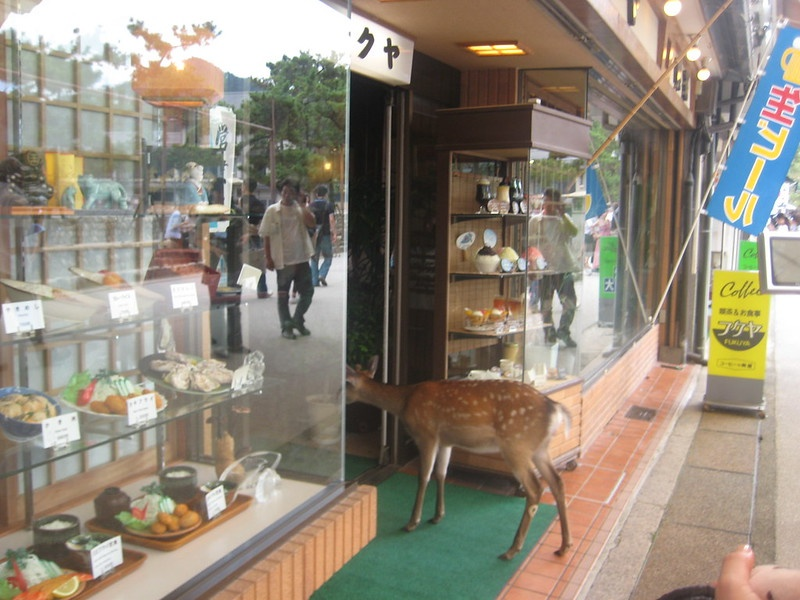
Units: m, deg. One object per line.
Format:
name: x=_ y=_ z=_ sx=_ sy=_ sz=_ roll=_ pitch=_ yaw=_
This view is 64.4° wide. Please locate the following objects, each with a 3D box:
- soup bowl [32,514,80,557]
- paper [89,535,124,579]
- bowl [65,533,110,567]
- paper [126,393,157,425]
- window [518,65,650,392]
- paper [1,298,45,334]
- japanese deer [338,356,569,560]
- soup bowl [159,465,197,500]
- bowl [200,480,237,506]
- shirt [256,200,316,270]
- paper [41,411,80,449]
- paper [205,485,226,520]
soup bowl: x=-0.958 y=0.656 z=1.784 sx=0.099 sy=0.081 sz=0.104 roll=6 pitch=8 yaw=-1
paper: x=-0.850 y=0.752 z=1.853 sx=0.118 sy=0.088 sz=0.009 roll=-27 pitch=-32 yaw=7
bowl: x=-0.900 y=0.704 z=1.804 sx=0.079 sy=0.039 sz=0.080 roll=4 pitch=12 yaw=-1
paper: x=-0.782 y=0.329 z=1.917 sx=0.018 sy=0.076 sz=0.093 roll=7 pitch=11 yaw=28
window: x=1.395 y=-0.367 z=6.031 sx=0.843 sy=2.504 sz=2.509 roll=-17 pitch=-20 yaw=23
paper: x=-0.976 y=0.042 z=1.641 sx=0.011 sy=0.074 sz=0.081 roll=6 pitch=9 yaw=41
japanese deer: x=0.262 y=0.973 z=4.025 sx=1.511 sy=1.158 sz=0.428 roll=2 pitch=-3 yaw=17
soup bowl: x=-0.717 y=0.593 z=2.057 sx=0.096 sy=0.080 sz=0.107 roll=1 pitch=2 yaw=4
bowl: x=-0.618 y=0.652 z=2.181 sx=0.086 sy=0.036 sz=0.086 roll=6 pitch=23 yaw=-2
shirt: x=-0.449 y=-0.249 z=2.448 sx=0.110 sy=0.242 sz=0.231 roll=6 pitch=13 yaw=37
paper: x=-0.917 y=0.350 z=1.713 sx=0.013 sy=0.075 sz=0.095 roll=7 pitch=14 yaw=30
paper: x=-0.628 y=0.690 z=2.155 sx=0.014 sy=0.105 sz=0.113 roll=0 pitch=10 yaw=25
